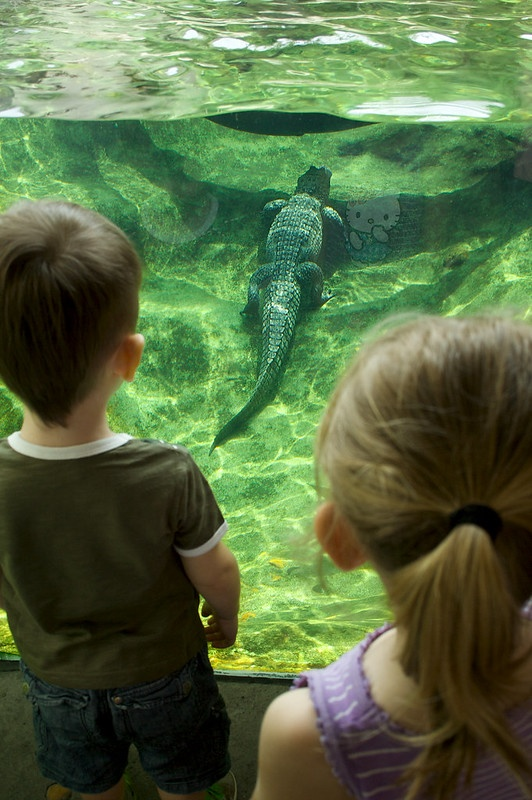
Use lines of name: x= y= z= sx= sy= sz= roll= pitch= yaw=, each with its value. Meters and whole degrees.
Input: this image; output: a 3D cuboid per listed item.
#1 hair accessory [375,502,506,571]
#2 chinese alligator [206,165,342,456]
hair accessory: x=0.273 y=0.204 z=1.111 sx=0.163 sy=0.113 sz=0.043 roll=-31 pitch=0 yaw=9
chinese alligator: x=0.144 y=-1.028 z=6.770 sx=0.934 sy=0.477 sz=3.042 roll=12 pitch=69 yaw=12
